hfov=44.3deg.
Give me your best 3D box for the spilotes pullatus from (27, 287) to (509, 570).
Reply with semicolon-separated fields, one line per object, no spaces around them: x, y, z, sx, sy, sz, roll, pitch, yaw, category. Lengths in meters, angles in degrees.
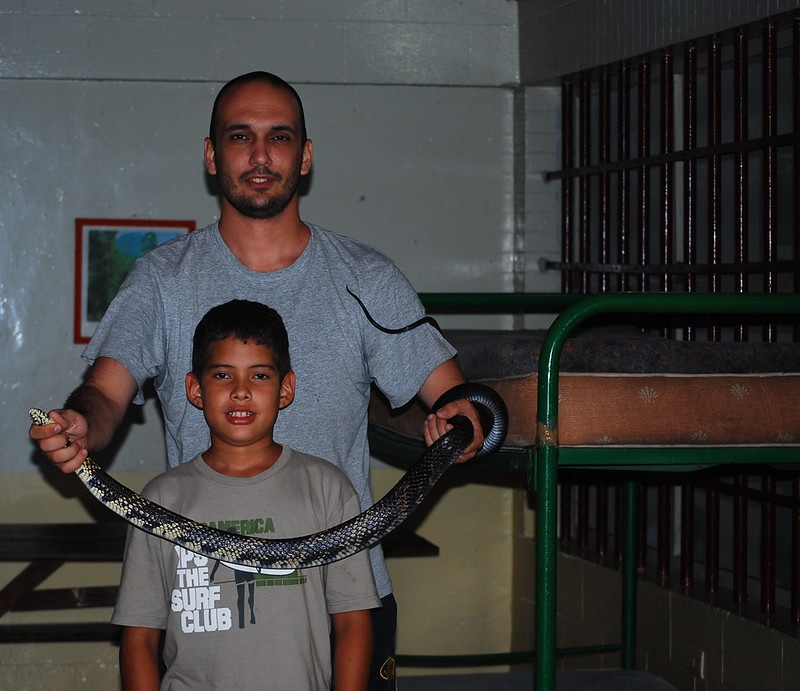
-0.217;0.293;2.369;0.931;0.205;0.736;-5;47;-8;spilotes pullatus
